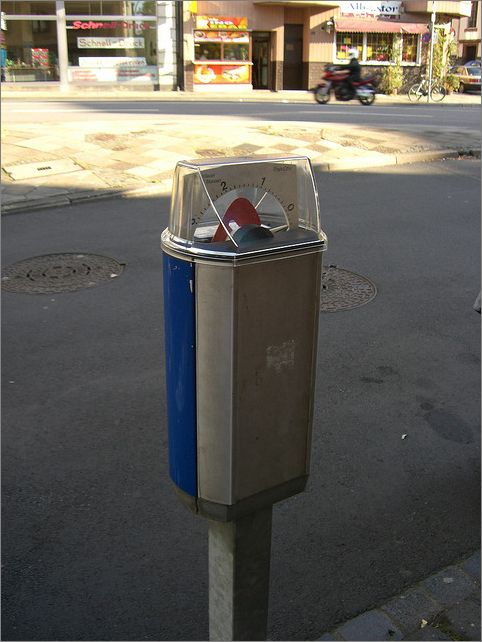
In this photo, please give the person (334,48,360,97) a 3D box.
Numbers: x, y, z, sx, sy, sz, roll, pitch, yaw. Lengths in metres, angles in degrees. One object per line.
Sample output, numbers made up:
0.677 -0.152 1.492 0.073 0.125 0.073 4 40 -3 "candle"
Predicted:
4.313 -9.531 21.126 0.594 1.653 1.366 5 23 10 "person"
